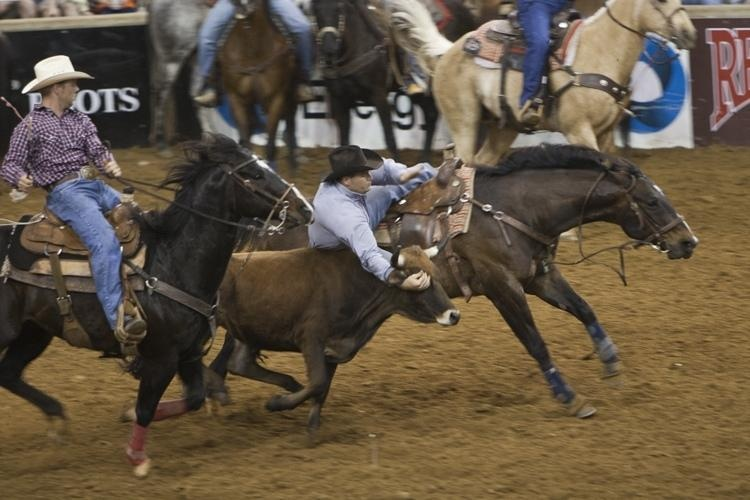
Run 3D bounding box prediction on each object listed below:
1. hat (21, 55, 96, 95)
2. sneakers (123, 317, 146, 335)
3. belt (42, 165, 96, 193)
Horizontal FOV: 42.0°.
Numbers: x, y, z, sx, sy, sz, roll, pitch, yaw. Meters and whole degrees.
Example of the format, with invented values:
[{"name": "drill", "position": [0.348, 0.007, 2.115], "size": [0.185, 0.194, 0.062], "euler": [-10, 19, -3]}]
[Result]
[{"name": "hat", "position": [-2.448, -1.303, 7.493], "size": [0.379, 0.381, 0.151], "euler": [-18, 63, -36]}, {"name": "sneakers", "position": [-1.769, 0.574, 7.163], "size": [0.186, 0.171, 0.143], "euler": [-2, 23, -7]}, {"name": "belt", "position": [-2.316, -0.545, 7.406], "size": [0.312, 0.087, 0.267], "euler": [-16, 4, 20]}]
